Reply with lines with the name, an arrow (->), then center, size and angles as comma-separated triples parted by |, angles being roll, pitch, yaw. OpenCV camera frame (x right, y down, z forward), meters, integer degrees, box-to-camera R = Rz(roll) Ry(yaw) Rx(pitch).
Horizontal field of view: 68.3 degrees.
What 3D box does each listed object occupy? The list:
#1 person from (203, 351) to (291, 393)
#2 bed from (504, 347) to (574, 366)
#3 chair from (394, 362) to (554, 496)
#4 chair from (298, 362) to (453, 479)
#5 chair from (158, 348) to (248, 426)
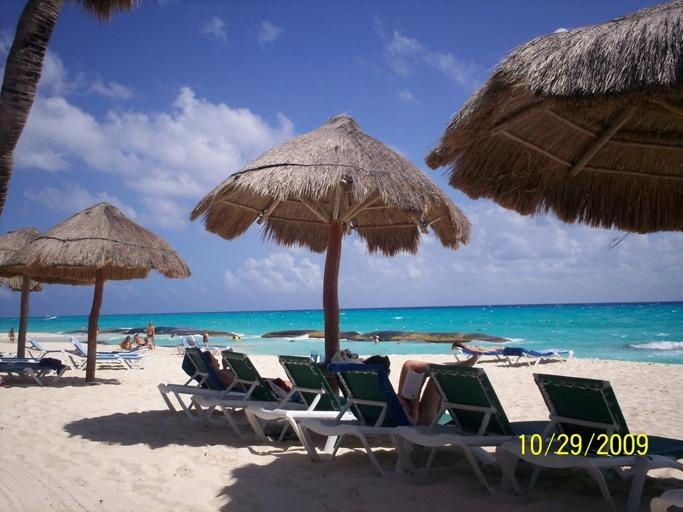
person -> -1.327, 1.550, 6.715 | 0.959, 0.316, 0.568 | 7, -10, -35
bed -> 6.542, 3.295, 16.624 | 1.429, 0.528, 3.435 | -6, -11, 34
chair -> 1.081, 1.492, 4.711 | 1.621, 0.841, 0.953 | 5, -8, -34
chair -> 0.360, 1.595, 5.278 | 1.387, 0.695, 0.812 | 5, -8, -36
chair -> -1.791, 1.672, 6.708 | 1.596, 0.848, 0.956 | 1, -4, -38
